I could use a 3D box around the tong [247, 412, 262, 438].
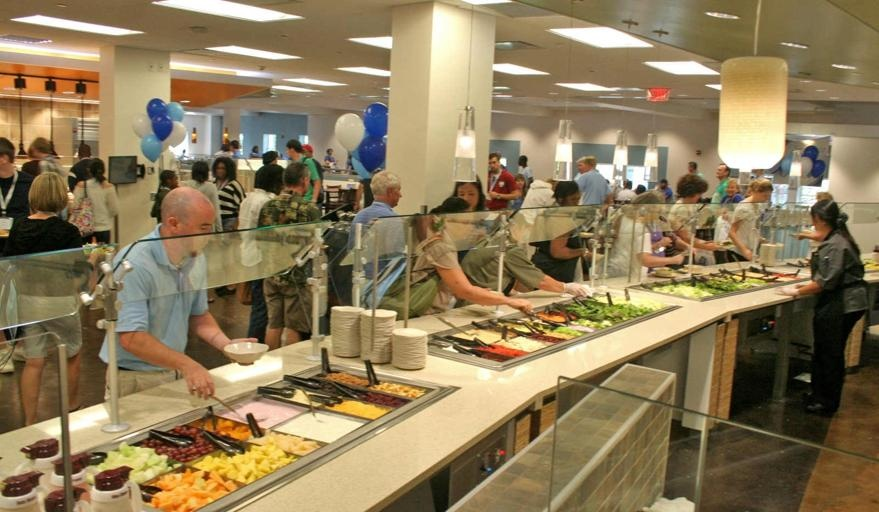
[{"bbox_3d":[-0.872,0.798,2.978,0.043,0.024,0.172,-3,37,-41],"label":"tong"}]

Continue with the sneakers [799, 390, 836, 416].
[{"bbox_3d":[3.369,1.369,5.793,0.392,0.203,0.117,-3,3,8],"label":"sneakers"}]

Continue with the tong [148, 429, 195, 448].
[{"bbox_3d":[-1.192,0.824,2.833,0.153,0.032,0.075,5,10,12],"label":"tong"}]

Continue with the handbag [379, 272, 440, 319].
[{"bbox_3d":[-0.201,0.244,4.120,0.360,0.310,0.179,10,43,-43],"label":"handbag"}]

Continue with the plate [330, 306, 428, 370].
[{"bbox_3d":[-0.363,0.489,3.658,0.459,0.163,0.150,4,8,13],"label":"plate"}]

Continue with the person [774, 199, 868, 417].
[{"bbox_3d":[3.492,0.458,5.724,0.608,1.936,0.469,6,10,29],"label":"person"}]

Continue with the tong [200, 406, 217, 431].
[{"bbox_3d":[-1.079,0.780,3.014,0.059,0.083,0.099,-2,8,-18],"label":"tong"}]

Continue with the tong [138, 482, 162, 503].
[{"bbox_3d":[-1.177,0.979,2.588,0.089,0.052,0.088,3,-2,-5],"label":"tong"}]

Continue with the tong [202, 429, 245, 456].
[{"bbox_3d":[-0.955,0.847,2.863,0.216,0.049,0.075,20,39,21],"label":"tong"}]
